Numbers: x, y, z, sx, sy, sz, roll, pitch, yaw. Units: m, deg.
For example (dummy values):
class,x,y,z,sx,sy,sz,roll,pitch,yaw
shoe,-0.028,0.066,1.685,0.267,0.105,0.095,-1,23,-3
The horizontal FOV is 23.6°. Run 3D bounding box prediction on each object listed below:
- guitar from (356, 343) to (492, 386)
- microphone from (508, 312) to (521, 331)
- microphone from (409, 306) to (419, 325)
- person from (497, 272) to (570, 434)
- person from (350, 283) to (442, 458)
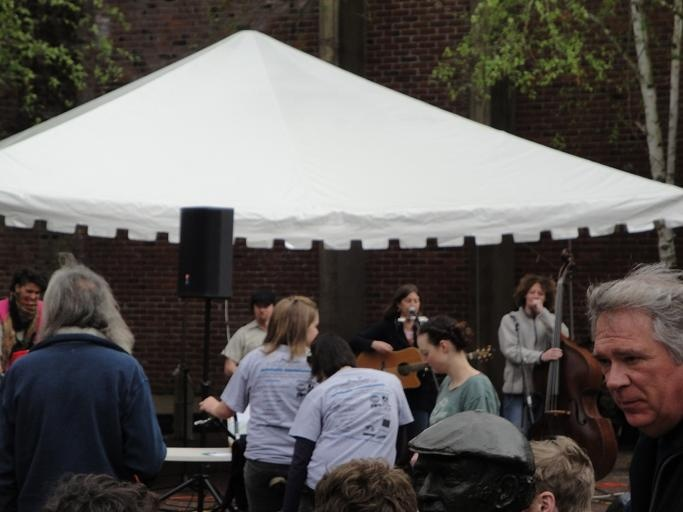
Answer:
class,x,y,z,sx,sy,sz,roll,pitch,yaw
guitar,0.819,1.252,18.283,1.396,0.511,1.395,1,0,-28
microphone,1.956,0.722,18.137,0.041,0.161,0.114,-26,-15,16
microphone,0.828,0.649,18.230,0.167,0.227,0.596,0,-5,4
person,2.125,0.999,18.092,0.689,1.783,0.650,3,3,8
person,0.634,1.258,18.469,0.847,1.793,0.755,-1,4,-22
